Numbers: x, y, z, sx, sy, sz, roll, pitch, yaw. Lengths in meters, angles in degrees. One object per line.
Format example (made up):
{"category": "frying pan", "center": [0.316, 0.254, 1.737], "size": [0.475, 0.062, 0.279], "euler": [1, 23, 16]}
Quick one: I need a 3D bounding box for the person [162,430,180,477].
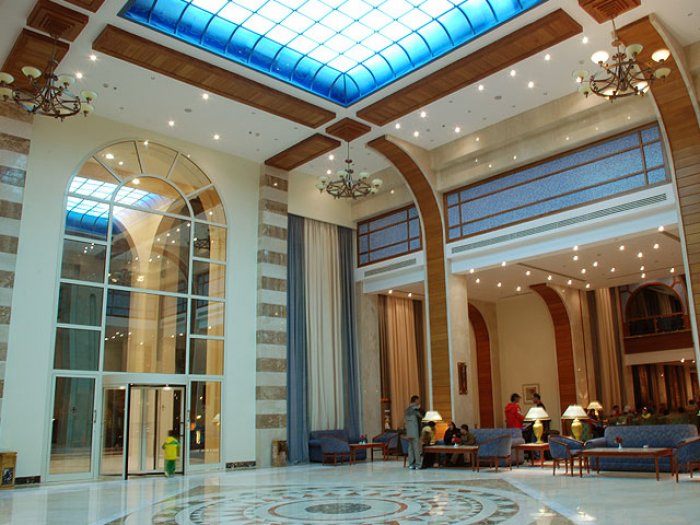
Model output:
{"category": "person", "center": [-4.582, 4.836, 12.755], "size": [0.377, 1.094, 0.887], "euler": [3, -19, -19]}

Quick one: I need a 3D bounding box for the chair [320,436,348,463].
{"category": "chair", "center": [-0.422, 5.621, 15.026], "size": [0.851, 0.752, 1.183], "euler": [-2, -18, -4]}

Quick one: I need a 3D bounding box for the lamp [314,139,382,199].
{"category": "lamp", "center": [-0.080, -2.966, 15.495], "size": [1.746, 1.755, 1.609], "euler": [4, -21, -15]}

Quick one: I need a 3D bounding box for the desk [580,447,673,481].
{"category": "desk", "center": [5.724, 4.132, 10.409], "size": [1.912, 0.565, 1.500], "euler": [-14, -20, 31]}

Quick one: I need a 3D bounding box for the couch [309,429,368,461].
{"category": "couch", "center": [-0.552, 5.674, 15.265], "size": [1.229, 0.856, 1.748], "euler": [-22, -29, 36]}
